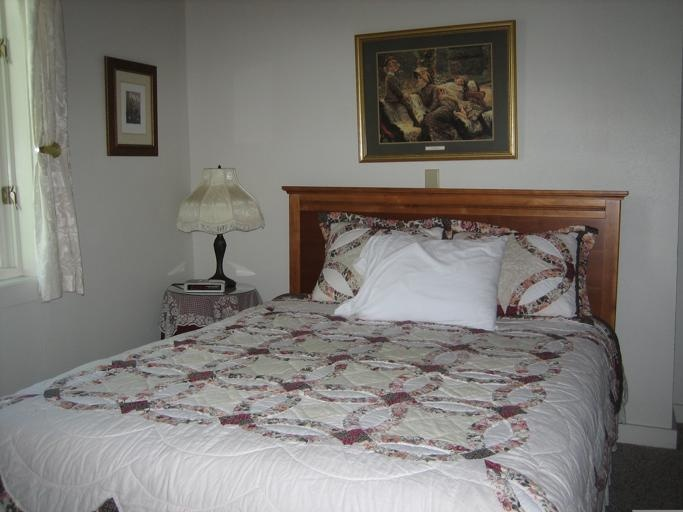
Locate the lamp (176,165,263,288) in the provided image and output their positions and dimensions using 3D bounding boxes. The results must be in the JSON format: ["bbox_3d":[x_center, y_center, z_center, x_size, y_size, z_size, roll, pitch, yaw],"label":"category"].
[{"bbox_3d":[-0.819,-0.190,3.436,0.652,0.750,0.579,1,6,1],"label":"lamp"}]

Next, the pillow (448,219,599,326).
[{"bbox_3d":[1.034,0.114,2.718,0.663,0.216,0.793,-8,36,32],"label":"pillow"}]

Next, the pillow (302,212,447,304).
[{"bbox_3d":[0.137,0.027,3.002,0.643,0.568,0.187,2,-25,36],"label":"pillow"}]

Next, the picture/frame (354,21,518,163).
[{"bbox_3d":[0.605,-1.019,3.004,1.096,0.718,0.038,1,8,19],"label":"picture/frame"}]

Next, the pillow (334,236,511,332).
[{"bbox_3d":[0.486,0.079,2.705,0.892,0.253,0.885,1,30,17],"label":"pillow"}]

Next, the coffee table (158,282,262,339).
[{"bbox_3d":[-0.900,0.309,3.312,0.468,0.372,0.427,0,6,-3],"label":"coffee table"}]
